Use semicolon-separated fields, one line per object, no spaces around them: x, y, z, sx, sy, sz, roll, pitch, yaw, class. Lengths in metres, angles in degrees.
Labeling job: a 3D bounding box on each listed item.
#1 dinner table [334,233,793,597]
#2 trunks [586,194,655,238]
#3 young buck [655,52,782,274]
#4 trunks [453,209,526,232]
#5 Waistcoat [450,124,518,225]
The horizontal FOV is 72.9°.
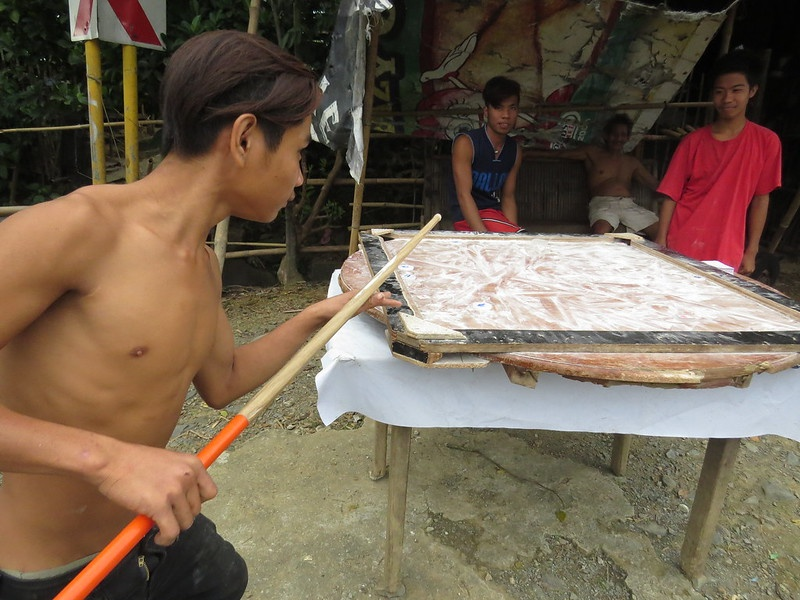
0.694;0.489;2.720;1.693;0.963;1.511;2;24;-3;dinner table
2.460;-0.921;5.897;0.816;0.327;0.598;1;30;-7;trunks
2.515;-0.684;4.326;0.798;2.251;0.507;12;36;32;young buck
0.801;-0.713;4.959;0.542;0.187;0.306;3;33;-3;trunks
0.822;-1.180;5.346;0.663;0.996;0.616;8;26;7;Waistcoat
